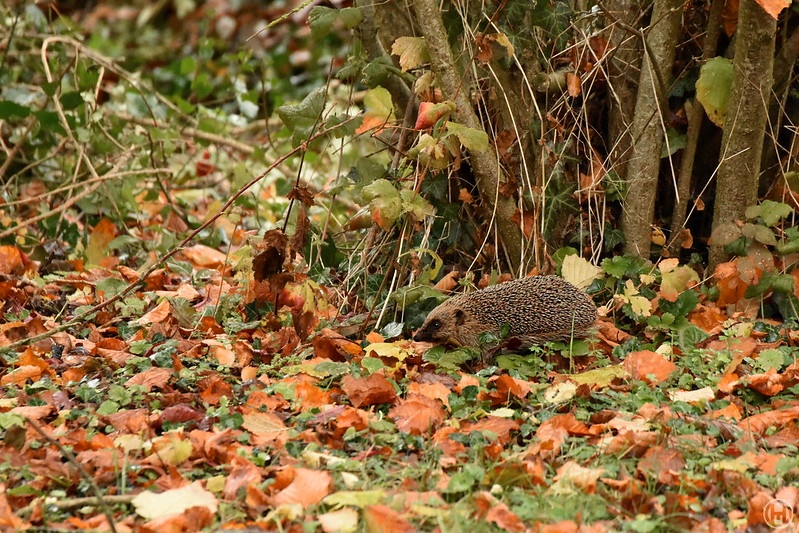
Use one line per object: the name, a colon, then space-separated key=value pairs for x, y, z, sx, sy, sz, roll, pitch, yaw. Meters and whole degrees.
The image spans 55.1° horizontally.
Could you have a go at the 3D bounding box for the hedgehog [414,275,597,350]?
hedgehog: x=0.662 y=0.294 z=4.776 sx=0.917 sy=0.312 sz=0.526 roll=-9 pitch=8 yaw=9
